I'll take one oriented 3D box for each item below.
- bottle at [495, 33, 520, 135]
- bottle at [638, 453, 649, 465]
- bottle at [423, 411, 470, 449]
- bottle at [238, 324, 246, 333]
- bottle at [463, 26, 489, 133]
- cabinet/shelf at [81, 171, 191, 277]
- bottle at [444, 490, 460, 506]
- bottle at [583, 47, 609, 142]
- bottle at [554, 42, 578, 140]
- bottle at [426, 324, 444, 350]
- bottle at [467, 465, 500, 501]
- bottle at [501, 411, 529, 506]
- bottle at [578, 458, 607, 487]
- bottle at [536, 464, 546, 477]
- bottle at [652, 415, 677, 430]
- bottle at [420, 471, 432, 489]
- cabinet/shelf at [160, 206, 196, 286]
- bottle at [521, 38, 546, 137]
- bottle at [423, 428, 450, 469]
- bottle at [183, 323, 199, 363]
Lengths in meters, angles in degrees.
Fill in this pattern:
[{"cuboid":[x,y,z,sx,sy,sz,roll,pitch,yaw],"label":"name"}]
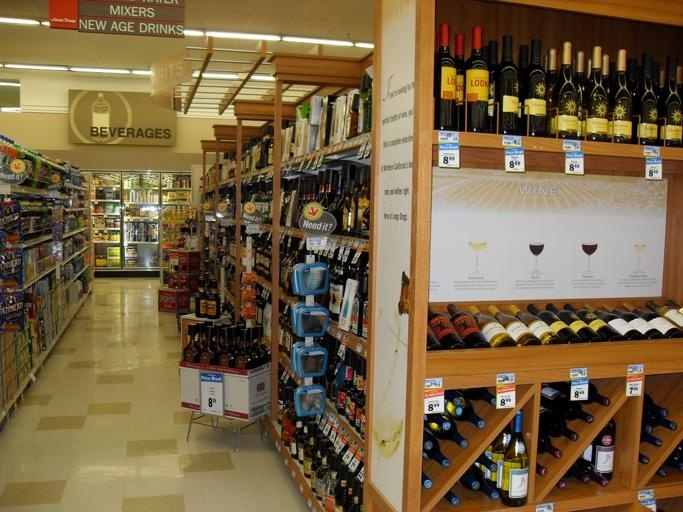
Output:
[{"cuboid":[0.789,-0.787,2.523,0.108,0.470,0.313,3,5,18],"label":"bottle"},{"cuboid":[1.554,1.043,2.757,0.037,0.043,0.045,9,7,-13],"label":"bottle"},{"cuboid":[0.519,0.859,2.643,0.090,0.089,0.293,-46,29,-11],"label":"bottle"},{"cuboid":[-0.892,0.649,4.725,0.063,0.069,0.065,-4,7,-36],"label":"bottle"},{"cuboid":[0.611,-0.790,2.418,0.101,0.464,0.090,3,4,17],"label":"bottle"},{"cuboid":[-5.443,-0.901,13.949,2.483,2.632,0.845,-1,6,-5],"label":"cabinet/shelf"},{"cuboid":[0.520,1.141,2.531,0.073,0.054,0.065,3,5,12],"label":"bottle"},{"cuboid":[1.282,-0.782,2.673,0.117,0.460,0.360,4,5,25],"label":"bottle"},{"cuboid":[1.119,-0.809,2.638,0.115,0.517,0.413,3,5,21],"label":"bottle"},{"cuboid":[0.430,0.376,2.463,0.070,0.080,0.140,3,6,9],"label":"bottle"},{"cuboid":[0.690,1.103,2.595,0.050,0.048,0.195,-15,14,-2],"label":"bottle"},{"cuboid":[0.828,1.009,2.550,0.129,0.337,0.081,3,4,9],"label":"bottle"},{"cuboid":[1.288,1.113,2.738,0.055,0.059,0.222,-12,19,-4],"label":"bottle"},{"cuboid":[0.986,1.058,2.639,0.052,0.046,0.040,5,5,27],"label":"bottle"},{"cuboid":[1.699,0.875,2.808,0.046,0.049,0.160,-19,7,-11],"label":"bottle"},{"cuboid":[0.388,1.042,2.489,0.033,0.036,0.142,24,1,2],"label":"bottle"},{"cuboid":[-3.858,-0.159,12.523,0.821,1.862,5.435,1,6,-19],"label":"cabinet/shelf"},{"cuboid":[0.936,-0.796,2.571,0.118,0.482,0.296,3,5,20],"label":"bottle"},{"cuboid":[0.461,0.938,2.629,0.127,0.174,0.234,3,5,9],"label":"bottle"},{"cuboid":[-1.356,0.772,4.790,0.131,0.274,0.297,1,5,-16],"label":"bottle"}]
